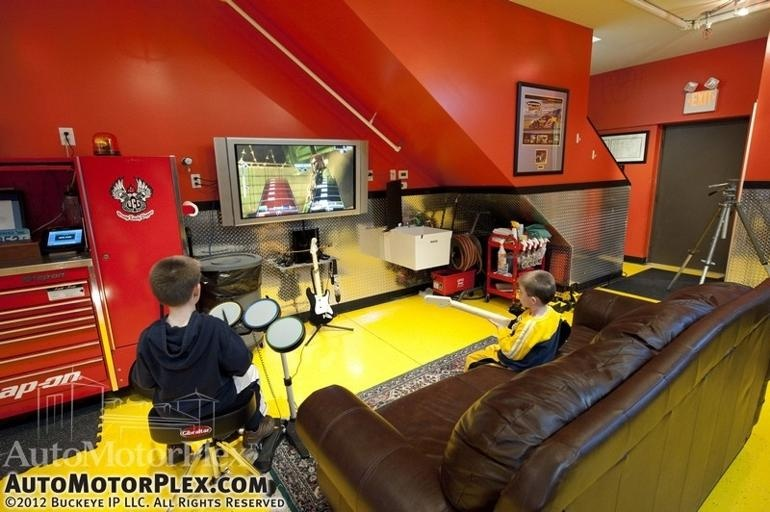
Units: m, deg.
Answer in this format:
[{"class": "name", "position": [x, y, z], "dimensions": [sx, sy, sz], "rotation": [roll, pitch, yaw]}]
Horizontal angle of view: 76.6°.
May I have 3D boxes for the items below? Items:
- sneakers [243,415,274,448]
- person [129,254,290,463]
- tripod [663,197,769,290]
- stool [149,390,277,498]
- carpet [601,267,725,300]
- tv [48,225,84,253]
[{"class": "sneakers", "position": [-0.973, 1.356, 3.926], "dimensions": [0.129, 0.148, 0.333], "rotation": [10, 31, 21]}, {"class": "person", "position": [-1.437, 0.763, 3.912], "dimensions": [1.147, 1.572, 1.016], "rotation": [-10, 12, -44]}, {"class": "tripod", "position": [4.130, -0.172, 6.064], "dimensions": [0.810, 1.021, 0.694], "rotation": [22, 46, 34]}, {"class": "stool", "position": [-1.404, 1.247, 3.925], "dimensions": [0.791, 0.774, 0.833], "rotation": [-12, 33, -25]}, {"class": "carpet", "position": [3.634, 0.360, 6.634], "dimensions": [0.858, 0.006, 0.941], "rotation": [-23, 22, -27]}, {"class": "tv", "position": [-2.789, -0.142, 4.298], "dimensions": [0.370, 0.252, 0.187], "rotation": [-2, 0, -9]}]
